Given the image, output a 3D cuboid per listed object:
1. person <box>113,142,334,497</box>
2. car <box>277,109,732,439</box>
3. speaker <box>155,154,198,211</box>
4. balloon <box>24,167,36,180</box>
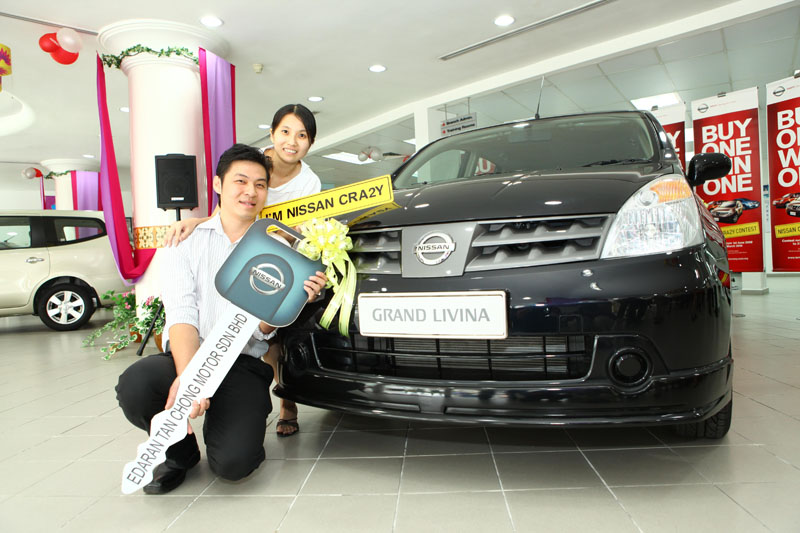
[{"bbox_3d":[-0.773,0.261,2.371,1.067,1.527,0.741,5,23,-3],"label":"person"},{"bbox_3d":[0.436,0.068,2.859,2.081,1.580,2.123,4,6,19],"label":"car"},{"bbox_3d":[-2.036,-0.773,4.417,0.388,0.529,0.247,0,10,-30],"label":"speaker"},{"bbox_3d":[-8.032,-2.048,10.520,0.276,0.211,0.524,-11,13,-35],"label":"balloon"}]
